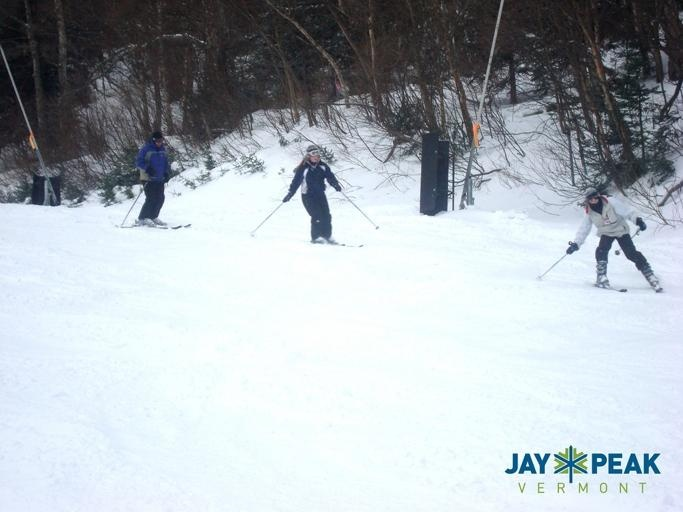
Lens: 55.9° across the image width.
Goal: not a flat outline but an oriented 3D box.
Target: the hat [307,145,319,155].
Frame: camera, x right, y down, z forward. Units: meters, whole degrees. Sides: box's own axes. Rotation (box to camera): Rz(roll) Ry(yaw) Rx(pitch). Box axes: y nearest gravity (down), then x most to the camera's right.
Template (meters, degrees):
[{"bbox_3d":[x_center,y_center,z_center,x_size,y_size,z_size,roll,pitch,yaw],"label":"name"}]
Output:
[{"bbox_3d":[-0.560,-2.012,12.225,0.159,0.177,0.200,-24,14,-41],"label":"hat"}]

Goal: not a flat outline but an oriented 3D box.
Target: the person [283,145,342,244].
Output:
[{"bbox_3d":[-0.533,-1.189,12.526,1.040,1.911,0.777,-5,10,-12],"label":"person"}]

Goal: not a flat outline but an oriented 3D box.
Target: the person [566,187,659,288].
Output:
[{"bbox_3d":[4.327,-0.219,10.458,1.138,2.012,0.693,-14,-35,18],"label":"person"}]

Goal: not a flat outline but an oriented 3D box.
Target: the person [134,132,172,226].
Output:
[{"bbox_3d":[-3.771,-1.524,12.863,0.710,1.869,0.635,-6,10,-18],"label":"person"}]

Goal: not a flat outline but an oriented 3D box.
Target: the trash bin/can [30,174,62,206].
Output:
[{"bbox_3d":[-8.605,-1.889,18.567,0.934,0.857,1.028,-4,11,-2],"label":"trash bin/can"}]

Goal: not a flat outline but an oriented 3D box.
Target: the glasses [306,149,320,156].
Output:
[{"bbox_3d":[-0.544,-1.951,12.217,0.175,0.160,0.169,-9,11,36],"label":"glasses"}]

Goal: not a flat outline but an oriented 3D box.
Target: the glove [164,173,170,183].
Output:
[{"bbox_3d":[-3.506,-1.571,12.874,0.039,0.191,0.097,8,-10,43],"label":"glove"}]

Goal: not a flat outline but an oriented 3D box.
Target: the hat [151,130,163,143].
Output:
[{"bbox_3d":[-3.609,-2.387,12.608,0.203,0.308,0.253,1,-4,-22],"label":"hat"}]
